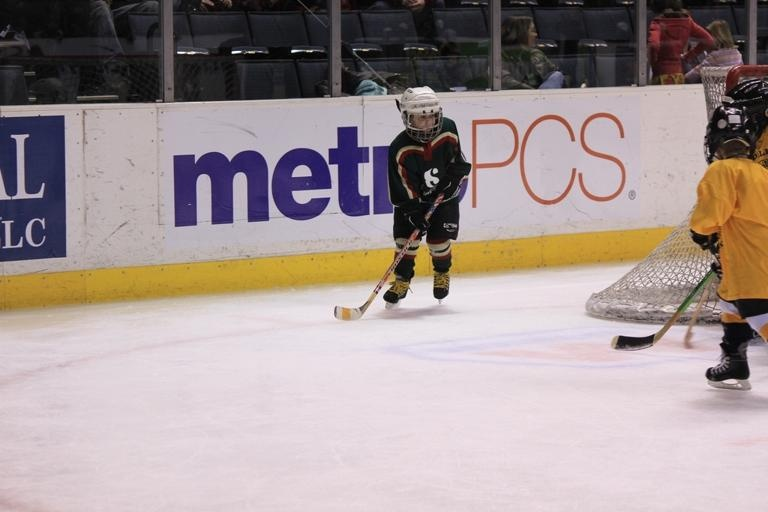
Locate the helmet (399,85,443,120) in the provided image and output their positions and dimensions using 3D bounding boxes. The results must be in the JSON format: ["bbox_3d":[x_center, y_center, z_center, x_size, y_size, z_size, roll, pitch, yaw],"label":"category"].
[{"bbox_3d":[0.208,-0.938,6.787,0.218,0.187,0.236,-12,14,-24],"label":"helmet"}]

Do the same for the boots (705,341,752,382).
[{"bbox_3d":[1.640,0.535,5.370,0.268,0.201,0.110,2,-2,-20],"label":"boots"}]

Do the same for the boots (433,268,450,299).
[{"bbox_3d":[0.367,0.172,7.071,0.084,0.187,0.092,-2,2,7],"label":"boots"}]

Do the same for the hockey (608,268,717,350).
[{"bbox_3d":[1.630,0.323,6.382,0.831,0.120,0.137,-29,32,-31],"label":"hockey"}]

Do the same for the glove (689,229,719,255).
[{"bbox_3d":[1.579,-0.072,5.462,0.129,0.083,0.134,-2,11,-19],"label":"glove"}]

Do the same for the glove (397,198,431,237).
[{"bbox_3d":[0.169,-0.245,6.967,0.264,0.202,0.096,-1,21,-5],"label":"glove"}]

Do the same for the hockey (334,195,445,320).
[{"bbox_3d":[0.015,0.010,7.278,0.135,0.153,1.091,32,60,19],"label":"hockey"}]

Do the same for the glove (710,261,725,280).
[{"bbox_3d":[1.736,0.075,5.706,0.038,0.094,0.062,-8,-3,-15],"label":"glove"}]
